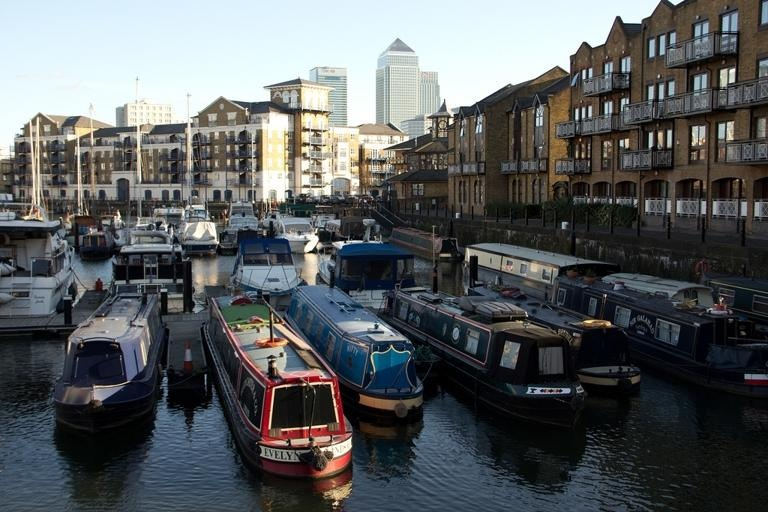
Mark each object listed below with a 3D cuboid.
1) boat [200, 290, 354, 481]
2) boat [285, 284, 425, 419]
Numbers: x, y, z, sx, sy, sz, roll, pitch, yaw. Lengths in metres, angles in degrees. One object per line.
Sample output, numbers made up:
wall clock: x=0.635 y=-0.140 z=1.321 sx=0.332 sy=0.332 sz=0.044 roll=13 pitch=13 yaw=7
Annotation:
boat: x=-4.329 y=4.179 z=26.599 sx=2.636 sy=2.900 sz=10.545 roll=-3 pitch=14 yaw=-21
boat: x=-1.663 y=3.377 z=29.786 sx=2.326 sy=2.324 sz=10.137 roll=-3 pitch=11 yaw=-22
